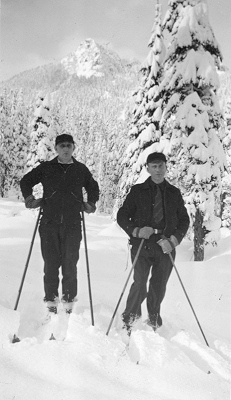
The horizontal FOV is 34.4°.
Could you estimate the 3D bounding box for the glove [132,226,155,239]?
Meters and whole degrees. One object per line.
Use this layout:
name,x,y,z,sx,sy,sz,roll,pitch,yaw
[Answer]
glove,0.361,0.441,4.996,0.276,0.126,0.315,10,-5,9

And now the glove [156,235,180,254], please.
glove,0.669,0.588,5.011,0.225,0.244,0.098,25,-13,-16

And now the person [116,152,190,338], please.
person,0.477,0.571,5.124,1.000,1.724,0.604,10,-5,2

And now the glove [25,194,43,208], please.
glove,-1.131,0.022,5.149,0.185,0.152,0.098,3,31,-10
